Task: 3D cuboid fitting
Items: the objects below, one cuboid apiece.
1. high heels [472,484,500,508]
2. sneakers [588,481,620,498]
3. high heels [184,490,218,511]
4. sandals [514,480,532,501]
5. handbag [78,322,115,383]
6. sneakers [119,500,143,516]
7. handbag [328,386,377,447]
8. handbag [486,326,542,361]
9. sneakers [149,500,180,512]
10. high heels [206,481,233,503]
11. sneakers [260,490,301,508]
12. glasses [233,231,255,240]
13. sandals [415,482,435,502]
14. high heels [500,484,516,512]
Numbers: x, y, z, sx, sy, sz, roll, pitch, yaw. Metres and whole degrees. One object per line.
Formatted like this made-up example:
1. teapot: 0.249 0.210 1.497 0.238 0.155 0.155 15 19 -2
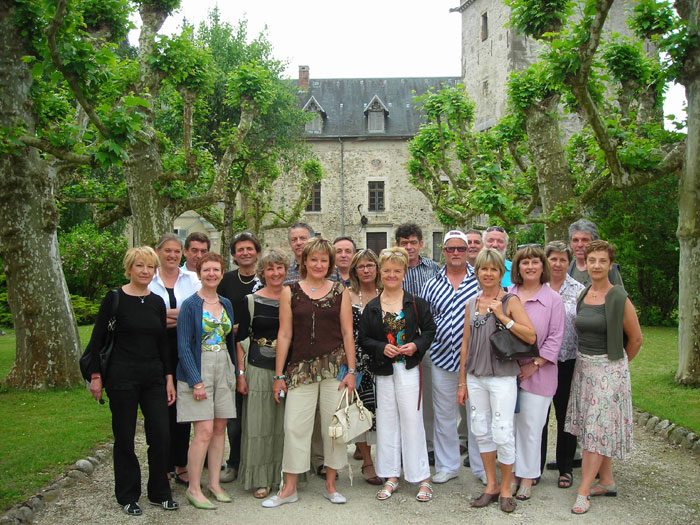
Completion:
1. high heels: 1.392 2.426 6.978 0.265 0.110 0.140 -13 -3 -14
2. sneakers: 2.672 2.401 7.078 0.291 0.120 0.118 4 -11 2
3. high heels: -1.524 2.468 6.967 0.276 0.110 0.140 -1 -6 24
4. sandals: 1.825 2.366 7.078 0.174 0.181 0.250 2 7 15
5. handbag: -2.522 0.888 6.694 0.347 0.619 0.167 0 8 0
6. sneakers: -2.190 2.465 6.759 0.108 0.080 0.206 3 -5 -32
7. handbag: 0.015 1.576 7.030 0.665 0.615 0.240 -2 -4 -43
8. handbag: 1.670 0.838 6.923 0.334 0.319 0.132 2 -19 -25
9. sneakers: -1.909 2.493 6.919 0.281 0.111 0.109 -2 -3 9
10. high heels: -1.378 2.439 7.105 0.119 0.079 0.301 2 -3 -38
11. sneakers: -0.743 2.466 7.003 0.352 0.113 0.132 6 -4 -16
12. glasses: -1.249 -0.341 7.969 0.216 0.080 0.226 -1 -25 -7
13. sandals: 0.782 2.424 7.084 0.144 0.143 0.405 -2 -7 4
14. high heels: 1.621 2.419 6.845 0.192 0.184 0.192 -1 7 -6
